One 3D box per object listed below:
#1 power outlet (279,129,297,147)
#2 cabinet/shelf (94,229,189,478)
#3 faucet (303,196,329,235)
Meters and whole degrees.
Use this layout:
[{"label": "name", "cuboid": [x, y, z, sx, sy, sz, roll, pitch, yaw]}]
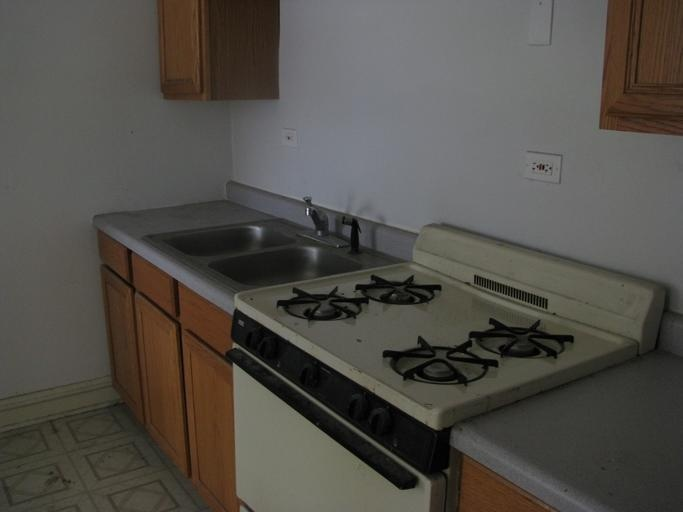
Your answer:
[{"label": "power outlet", "cuboid": [-0.262, -0.584, 2.676, 0.021, 0.068, 0.088, -18, 28, -39]}, {"label": "cabinet/shelf", "cuboid": [-0.926, 0.447, 2.520, 0.437, 0.848, 0.861, -11, 25, -29]}, {"label": "faucet", "cuboid": [-0.111, -0.197, 2.433, 0.108, 0.201, 0.262, 2, 22, -3]}]
